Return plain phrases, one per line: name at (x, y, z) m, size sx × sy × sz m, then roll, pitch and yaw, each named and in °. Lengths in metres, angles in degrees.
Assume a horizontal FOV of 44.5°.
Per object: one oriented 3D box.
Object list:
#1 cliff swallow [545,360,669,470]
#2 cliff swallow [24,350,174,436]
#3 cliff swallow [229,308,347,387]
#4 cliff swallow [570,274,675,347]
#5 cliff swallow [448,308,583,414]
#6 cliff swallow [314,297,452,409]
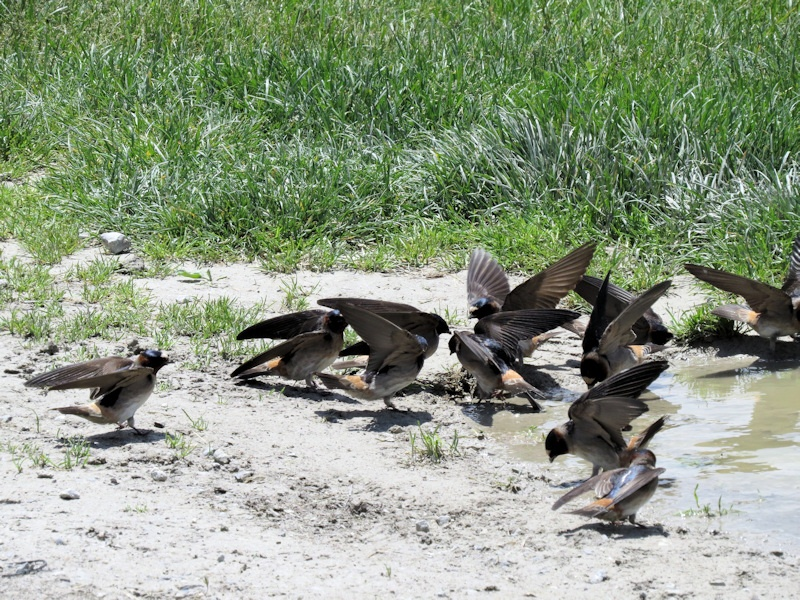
cliff swallow at (1.404, 0.803, 6.555) m, size 0.642 × 0.376 × 0.740 m, roll -26°, pitch -1°, yaw 11°
cliff swallow at (-2.041, 0.621, 6.348) m, size 1.025 × 0.384 × 0.757 m, roll -1°, pitch 1°, yaw 4°
cliff swallow at (-0.792, 0.361, 7.342) m, size 0.867 × 0.323 × 0.687 m, roll 2°, pitch 10°, yaw 12°
cliff swallow at (1.870, 0.113, 8.143) m, size 0.867 × 0.276 × 0.628 m, roll -9°, pitch 45°, yaw -2°
cliff swallow at (0.758, 0.497, 7.406) m, size 1.014 × 0.388 × 0.996 m, roll 9°, pitch 19°, yaw 34°
cliff swallow at (-0.164, 0.502, 7.100) m, size 1.153 × 0.886 × 0.576 m, roll -6°, pitch 58°, yaw -14°
